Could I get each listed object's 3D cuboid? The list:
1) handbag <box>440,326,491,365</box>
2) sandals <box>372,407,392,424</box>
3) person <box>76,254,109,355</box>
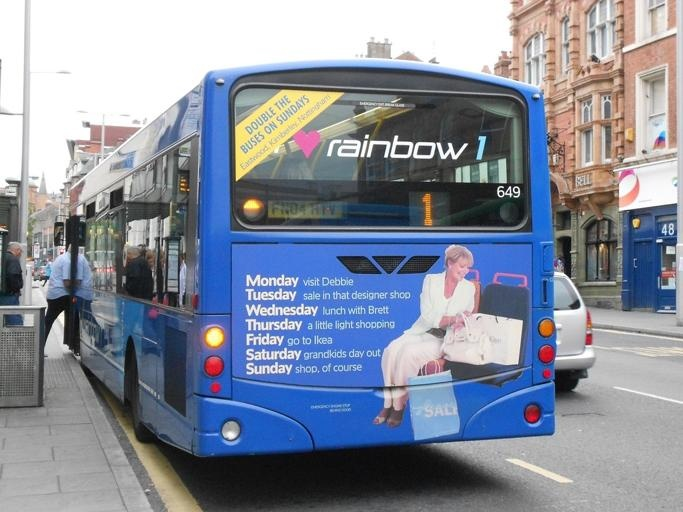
[{"bbox_3d":[1.109,0.805,7.002,0.406,0.448,0.222,-5,-20,14],"label":"handbag"},{"bbox_3d":[0.373,1.399,6.733,0.071,0.112,0.241,21,18,24],"label":"sandals"},{"bbox_3d":[-4.178,0.881,12.464,0.618,0.782,2.732,10,19,-21],"label":"person"}]
